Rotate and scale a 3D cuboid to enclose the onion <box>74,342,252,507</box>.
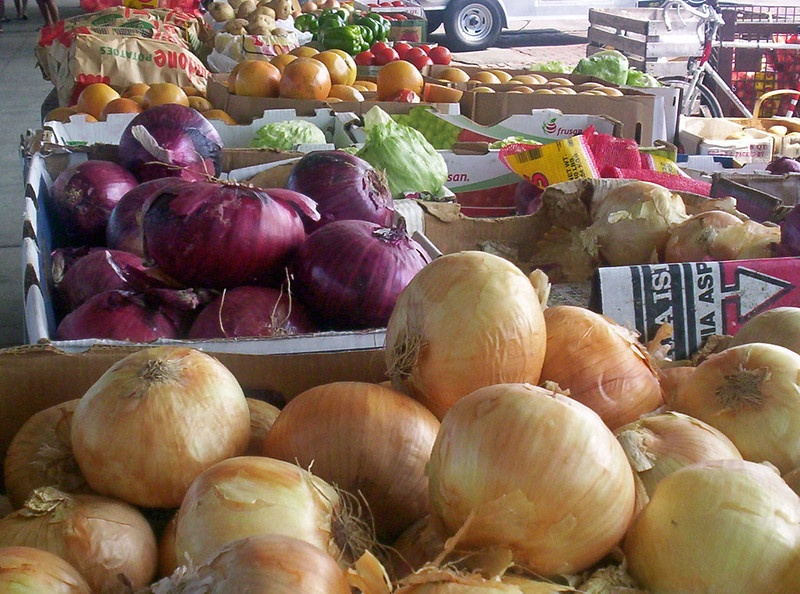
[{"bbox_3d":[-0.383,0.217,1.239,0.258,0.282,0.270,-5,27,-10],"label":"onion"}]

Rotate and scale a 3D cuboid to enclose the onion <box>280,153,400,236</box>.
[{"bbox_3d":[-0.196,-0.284,1.980,0.229,0.267,0.247,3,6,6],"label":"onion"}]

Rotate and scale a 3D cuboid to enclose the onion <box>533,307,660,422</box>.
[{"bbox_3d":[0.345,0.091,1.336,0.118,0.190,0.186,-44,41,-18],"label":"onion"}]

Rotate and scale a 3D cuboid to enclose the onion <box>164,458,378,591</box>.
[{"bbox_3d":[-0.180,0.293,1.066,0.249,0.197,0.200,12,23,-9],"label":"onion"}]

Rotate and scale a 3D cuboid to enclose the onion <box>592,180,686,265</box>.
[{"bbox_3d":[0.623,-0.185,2.015,0.236,0.220,0.124,9,15,22],"label":"onion"}]

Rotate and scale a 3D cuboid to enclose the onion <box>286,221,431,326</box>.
[{"bbox_3d":[-0.068,-0.056,1.645,0.215,0.235,0.230,6,63,31],"label":"onion"}]

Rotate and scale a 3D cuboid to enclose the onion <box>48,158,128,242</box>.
[{"bbox_3d":[-0.912,-0.280,2.230,0.280,0.226,0.153,6,14,11],"label":"onion"}]

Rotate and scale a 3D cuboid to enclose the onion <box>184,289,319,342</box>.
[{"bbox_3d":[-0.304,0.042,1.567,0.253,0.100,0.136,3,14,-4],"label":"onion"}]

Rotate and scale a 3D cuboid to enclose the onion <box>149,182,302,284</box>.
[{"bbox_3d":[-0.371,-0.103,1.620,0.233,0.168,0.217,1,7,-45],"label":"onion"}]

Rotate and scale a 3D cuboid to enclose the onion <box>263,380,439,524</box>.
[{"bbox_3d":[-0.063,0.231,1.284,0.217,0.234,0.215,-30,2,8],"label":"onion"}]

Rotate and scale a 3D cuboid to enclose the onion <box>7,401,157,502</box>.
[{"bbox_3d":[-0.560,0.267,1.291,0.155,0.090,0.171,-2,51,8],"label":"onion"}]
